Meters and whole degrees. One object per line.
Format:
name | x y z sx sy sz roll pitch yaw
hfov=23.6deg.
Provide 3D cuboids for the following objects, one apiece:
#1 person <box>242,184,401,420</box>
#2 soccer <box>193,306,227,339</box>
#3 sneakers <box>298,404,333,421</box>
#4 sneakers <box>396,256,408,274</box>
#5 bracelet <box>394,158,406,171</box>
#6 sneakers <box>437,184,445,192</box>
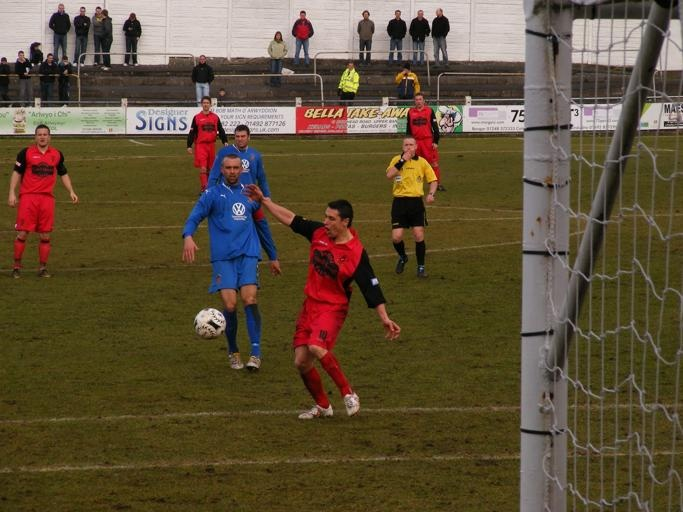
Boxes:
person | -0.126 0.656 20.822 1.554 2.723 0.838 -1 10 1
soccer | -1.721 0.861 21.932 0.394 0.380 0.386 -13 26 -18
sneakers | -0.310 1.977 20.823 0.442 0.167 0.170 2 5 -7
sneakers | 0.964 0.123 25.881 0.117 0.152 0.340 12 40 12
bracelet | 0.943 -1.405 25.143 0.167 0.213 0.341 2 10 15
sneakers | 2.063 -1.374 33.530 0.150 0.067 0.191 4 10 5
